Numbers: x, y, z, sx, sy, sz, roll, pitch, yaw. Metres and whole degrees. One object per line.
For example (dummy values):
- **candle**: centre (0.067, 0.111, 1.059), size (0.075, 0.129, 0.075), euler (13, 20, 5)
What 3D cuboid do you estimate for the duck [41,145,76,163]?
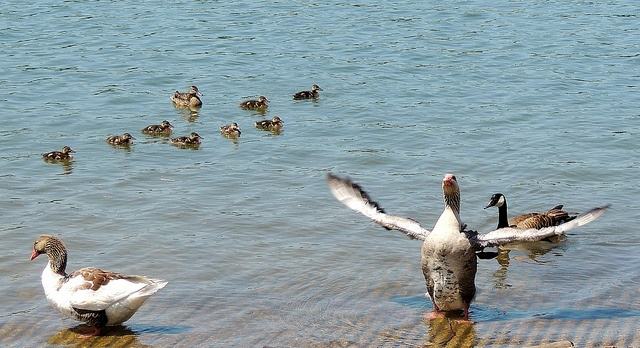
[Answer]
- **duck**: centre (-10.725, -0.851, 35.702), size (1.303, 0.525, 0.750), euler (-11, 30, -13)

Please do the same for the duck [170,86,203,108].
- **duck**: centre (-6.108, -3.620, 40.488), size (1.222, 1.084, 0.956), euler (8, 36, 23)

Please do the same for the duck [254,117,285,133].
- **duck**: centre (-2.278, -2.252, 38.452), size (1.388, 0.624, 0.515), euler (9, 37, 25)

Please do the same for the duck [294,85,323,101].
- **duck**: centre (-0.612, -3.911, 41.114), size (1.267, 0.588, 0.807), euler (-1, 30, 8)

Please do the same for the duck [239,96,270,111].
- **duck**: centre (-3.018, -3.279, 40.300), size (1.403, 0.494, 0.925), euler (-6, 28, -3)

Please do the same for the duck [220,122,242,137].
- **duck**: centre (-3.943, -1.928, 37.856), size (0.952, 0.622, 0.478), euler (16, 41, 33)
